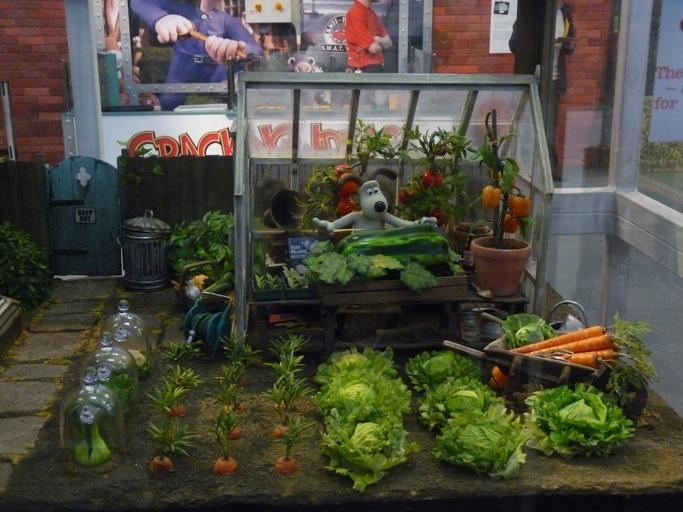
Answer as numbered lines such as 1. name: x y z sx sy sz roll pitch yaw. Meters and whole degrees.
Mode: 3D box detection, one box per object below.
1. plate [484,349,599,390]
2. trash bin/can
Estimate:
1. plate: 1.416 0.812 4.382 0.431 0.111 0.327 10 6 15
2. trash bin/can: -2.364 -0.053 7.071 0.545 0.802 0.625 9 8 38
